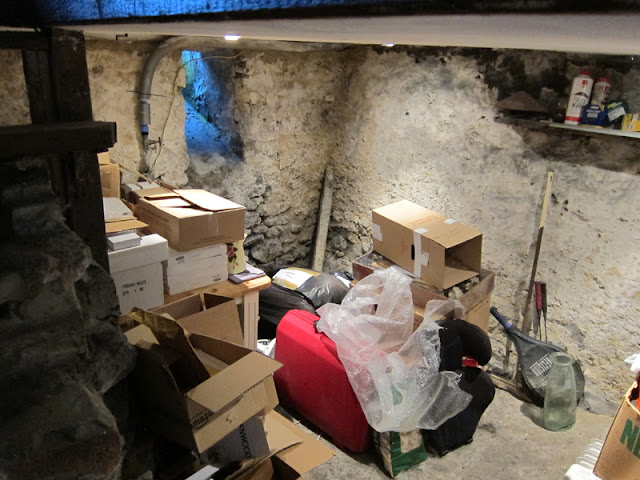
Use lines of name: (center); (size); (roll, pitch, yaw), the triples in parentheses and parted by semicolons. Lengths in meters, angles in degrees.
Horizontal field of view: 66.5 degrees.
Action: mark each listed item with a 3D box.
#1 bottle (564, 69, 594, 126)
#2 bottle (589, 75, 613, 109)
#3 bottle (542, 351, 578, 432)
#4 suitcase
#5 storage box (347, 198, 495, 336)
bottle: (1.390, -0.781, 2.665); (0.080, 0.286, 0.113); (-8, 23, -20)
bottle: (1.496, -0.790, 2.599); (0.075, 0.149, 0.044); (12, 21, 25)
bottle: (1.397, 0.871, 2.851); (0.188, 0.437, 0.185); (-5, 18, 2)
suitcase: (-0.008, 0.747, 2.607); (0.563, 0.648, 0.692); (-8, 20, -31)
storage box: (0.593, 0.173, 2.823); (0.526, 0.666, 0.670); (-13, 25, -41)
